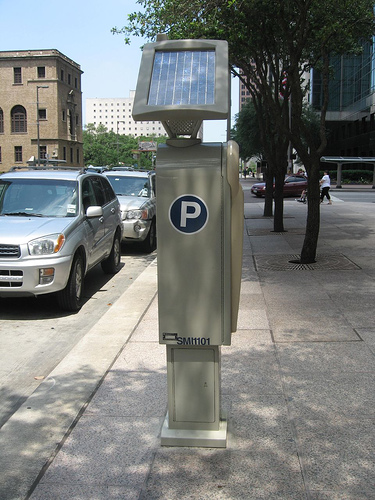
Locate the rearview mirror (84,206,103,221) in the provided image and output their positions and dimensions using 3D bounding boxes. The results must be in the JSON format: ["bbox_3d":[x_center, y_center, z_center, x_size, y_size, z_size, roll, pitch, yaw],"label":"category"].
[{"bbox_3d":[-1.503,-0.580,6.673,0.267,0.230,0.470,-2,2,-18],"label":"rearview mirror"}]

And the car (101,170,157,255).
[{"bbox_3d":[-1.562,-1.184,11.277,1.568,2.778,1.602,1,10,2],"label":"car"}]

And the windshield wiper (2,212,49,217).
[{"bbox_3d":[-2.461,-0.523,6.410,0.727,0.054,0.033,4,-9,8],"label":"windshield wiper"}]

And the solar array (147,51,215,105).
[{"bbox_3d":[-0.027,-0.885,2.125,0.315,0.387,0.339,-1,2,5],"label":"solar array"}]
